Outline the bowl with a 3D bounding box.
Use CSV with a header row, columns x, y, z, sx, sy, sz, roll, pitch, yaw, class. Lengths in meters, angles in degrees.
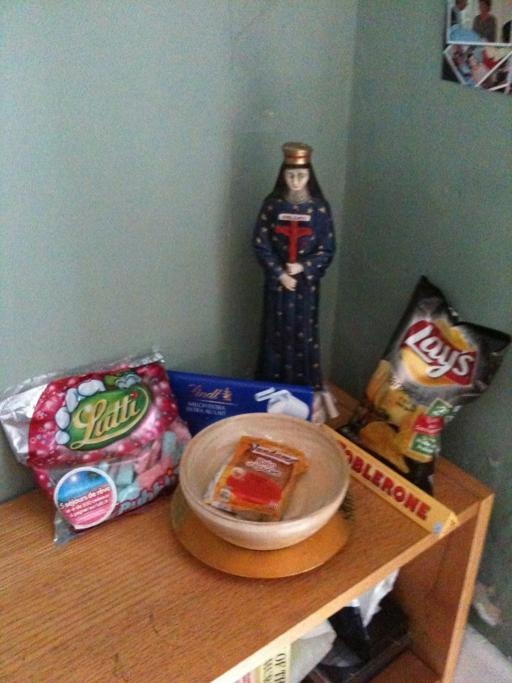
x,y,z,sx,sy,sz,roll,pitch,yaw,class
0.007,0.186,0.779,0.175,0.082,0.199,11,27,21,bowl
